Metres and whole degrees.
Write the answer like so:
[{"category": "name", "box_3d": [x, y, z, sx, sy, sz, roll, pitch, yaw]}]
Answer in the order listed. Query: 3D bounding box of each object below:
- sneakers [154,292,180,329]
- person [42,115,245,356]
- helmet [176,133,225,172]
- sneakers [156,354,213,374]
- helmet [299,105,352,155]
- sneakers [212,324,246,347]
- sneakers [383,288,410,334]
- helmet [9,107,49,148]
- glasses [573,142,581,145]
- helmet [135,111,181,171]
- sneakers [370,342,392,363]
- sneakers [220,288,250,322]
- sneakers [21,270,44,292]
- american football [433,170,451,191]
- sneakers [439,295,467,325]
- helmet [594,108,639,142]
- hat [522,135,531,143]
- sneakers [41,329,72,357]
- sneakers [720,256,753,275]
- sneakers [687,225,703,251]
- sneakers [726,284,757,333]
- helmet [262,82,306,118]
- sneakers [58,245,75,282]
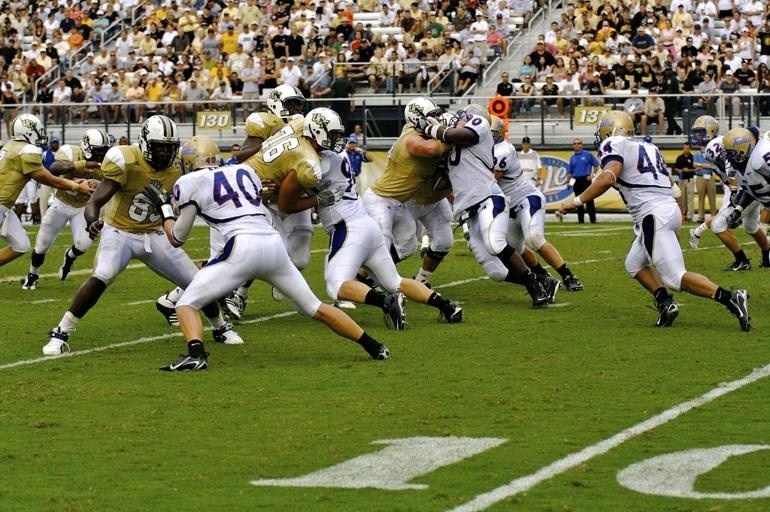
[{"category": "sneakers", "box_3d": [-2.220, 0.567, 11.424, 0.413, 0.173, 0.135, 40, 12, -24]}, {"category": "person", "box_3d": [-2.452, -0.202, 10.556, 1.284, 2.184, 0.587, -3, 6, -9]}, {"category": "helmet", "box_3d": [-1.684, -0.920, 10.421, 0.332, 0.330, 0.416, -14, 27, -32]}, {"category": "sneakers", "box_3d": [-1.774, 0.958, 9.903, 0.462, 0.145, 0.154, 0, -5, 2]}, {"category": "helmet", "box_3d": [-0.596, -1.251, 11.093, 0.490, 0.367, 0.357, 2, 21, -4]}, {"category": "sneakers", "box_3d": [-1.526, 0.751, 10.912, 0.347, 0.136, 0.174, 2, 1, 30]}, {"category": "sneakers", "box_3d": [0.082, 0.577, 11.128, 0.201, 0.416, 0.158, -4, 23, 14]}, {"category": "helmet", "box_3d": [-4.298, -1.510, 13.556, 0.451, 0.346, 0.367, -11, 18, -42]}, {"category": "glasses", "box_3d": [3.506, -2.044, 20.568, 0.109, 0.049, 0.135, -1, 6, 11]}, {"category": "helmet", "box_3d": [-2.121, -1.053, 10.555, 0.382, 0.515, 0.303, -3, 6, -15]}, {"category": "sneakers", "box_3d": [-0.022, 0.875, 10.213, 0.275, 0.088, 0.123, 16, 20, 21]}, {"category": "sneakers", "box_3d": [-1.580, 0.536, 11.907, 0.218, 0.280, 0.606, -7, -23, -1]}, {"category": "sneakers", "box_3d": [-4.457, 0.333, 14.055, 0.149, 0.194, 0.431, 20, -12, -24]}, {"category": "american football", "box_3d": [0.611, -0.802, 12.147, 0.216, 0.170, 0.169, -16, -5, 36]}, {"category": "sneakers", "box_3d": [0.637, 0.569, 11.596, 0.156, 0.173, 0.423, -10, -13, 33]}, {"category": "helmet", "box_3d": [2.427, -1.381, 11.983, 0.415, 0.334, 0.314, 19, 21, 31]}, {"category": "hat", "box_3d": [2.626, -2.164, 20.962, 0.139, 0.095, 0.170, 0, -6, 4]}, {"category": "sneakers", "box_3d": [-3.099, 0.785, 10.535, 0.261, 0.266, 0.372, -3, 6, -16]}, {"category": "sneakers", "box_3d": [4.562, 0.125, 14.530, 0.422, 0.156, 0.147, -2, 3, 3]}, {"category": "sneakers", "box_3d": [4.587, -0.248, 16.629, 0.190, 0.402, 0.144, 8, 36, 29]}, {"category": "sneakers", "box_3d": [3.504, 0.529, 11.086, 0.179, 0.410, 0.285, 1, 6, 24]}, {"category": "helmet", "box_3d": [-1.179, -1.744, 12.718, 0.446, 0.317, 0.368, -1, 12, 10]}, {"category": "sneakers", "box_3d": [-4.254, 0.123, 14.947, 0.256, 0.489, 0.180, 4, -1, 11]}]
